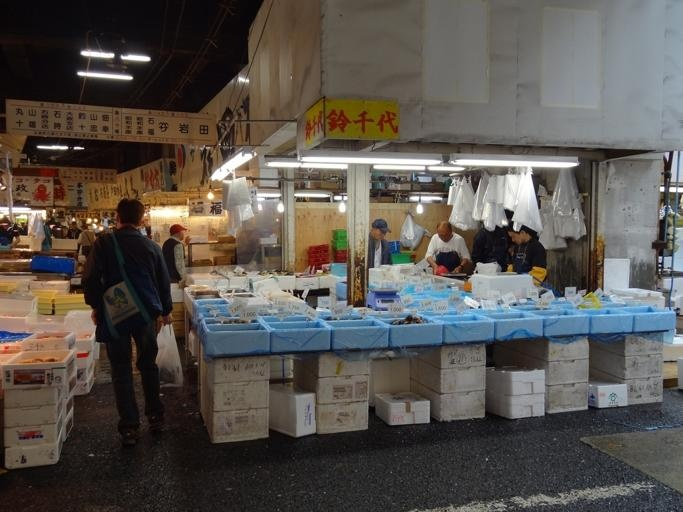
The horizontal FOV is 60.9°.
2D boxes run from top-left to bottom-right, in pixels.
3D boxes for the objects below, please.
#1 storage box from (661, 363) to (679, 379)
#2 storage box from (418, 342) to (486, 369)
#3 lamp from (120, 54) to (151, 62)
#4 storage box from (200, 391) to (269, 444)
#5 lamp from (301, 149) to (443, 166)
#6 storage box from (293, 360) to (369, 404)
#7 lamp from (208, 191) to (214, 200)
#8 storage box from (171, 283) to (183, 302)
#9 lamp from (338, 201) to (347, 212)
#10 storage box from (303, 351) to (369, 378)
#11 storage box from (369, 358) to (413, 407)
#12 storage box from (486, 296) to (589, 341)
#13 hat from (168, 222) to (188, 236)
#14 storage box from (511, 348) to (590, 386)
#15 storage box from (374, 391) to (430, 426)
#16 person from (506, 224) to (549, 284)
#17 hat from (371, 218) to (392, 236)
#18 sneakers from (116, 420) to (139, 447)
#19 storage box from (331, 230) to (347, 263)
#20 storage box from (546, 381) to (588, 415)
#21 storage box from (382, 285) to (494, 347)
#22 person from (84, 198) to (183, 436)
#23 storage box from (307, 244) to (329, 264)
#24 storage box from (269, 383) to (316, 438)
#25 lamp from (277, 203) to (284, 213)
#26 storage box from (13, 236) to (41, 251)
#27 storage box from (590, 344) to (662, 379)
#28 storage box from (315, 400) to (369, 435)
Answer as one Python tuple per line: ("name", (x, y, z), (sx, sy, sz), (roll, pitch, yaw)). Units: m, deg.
("storage box", (4.267, 1.491, 7.558), (0.226, 0.066, 0.250), (-5, 8, 0))
("storage box", (1.230, 1.036, 6.386), (0.459, 0.212, 0.343), (-1, 1, -18))
("lamp", (-4.136, -3.990, 11.626), (0.548, 0.158, 0.682), (-3, 14, -15))
("storage box", (-1.062, 1.559, 5.957), (0.413, 0.244, 0.606), (1, -1, -20))
("lamp", (0.359, -1.191, 7.085), (1.732, 0.199, 0.481), (-3, 14, -14))
("storage box", (-0.170, 1.303, 6.330), (0.451, 0.230, 0.651), (0, -1, -20))
("lamp", (-2.849, -1.296, 12.607), (0.151, 0.219, 0.155), (2, 6, 24))
("storage box", (-2.605, 0.590, 9.218), (0.226, 0.342, 0.332), (-1, 3, -15))
("lamp", (0.016, -0.954, 11.390), (0.175, 0.249, 0.182), (2, 10, 0))
("storage box", (-0.073, 1.119, 6.143), (0.687, 0.279, 0.313), (1, 13, 3))
("storage box", (0.558, 1.406, 6.741), (0.504, 0.529, 0.516), (0, 0, -9))
("storage box", (2.251, 0.726, 6.897), (1.366, 0.259, 0.816), (-3, 14, -14))
("hat", (-2.621, -0.437, 9.523), (0.232, 0.190, 0.355), (5, 21, 43))
("storage box", (2.509, 1.305, 6.667), (0.433, 0.199, 0.454), (-1, 3, -25))
("storage box", (0.685, 1.667, 6.433), (0.611, 0.260, 0.471), (0, 13, -1))
("person", (2.771, -0.042, 8.588), (0.396, 0.682, 0.737), (-1, 13, -5))
("hat", (0.689, -0.479, 10.360), (0.363, 0.247, 0.279), (17, 18, 12))
("sneakers", (-2.117, 1.778, 5.776), (0.113, 0.136, 0.291), (1, 7, -13))
("storage box", (-0.048, -0.216, 11.974), (0.236, 0.625, 0.373), (-4, 14, -19))
("storage box", (2.537, 1.570, 6.598), (0.363, 0.234, 0.369), (2, -4, -31))
("storage box", (1.075, 0.746, 6.693), (1.197, 0.297, 1.027), (-1, 14, -4))
("person", (-2.138, 0.631, 5.989), (0.749, 2.335, 0.771), (10, 16, 39))
("storage box", (-0.471, -0.018, 11.922), (0.453, 0.358, 0.459), (-3, 10, -5))
("storage box", (-0.522, 1.583, 6.138), (0.374, 0.473, 0.696), (-2, 4, -32))
("lamp", (-1.167, -0.926, 11.317), (0.133, 0.241, 0.364), (-1, 13, -5))
("storage box", (-7.933, -0.305, 14.704), (0.374, 0.275, 0.205), (4, 1, -12))
("storage box", (3.418, 1.181, 6.944), (0.365, 0.228, 0.525), (-2, 2, -15))
("storage box", (0.008, 1.689, 6.070), (0.547, 0.308, 0.099), (-2, 13, -10))
